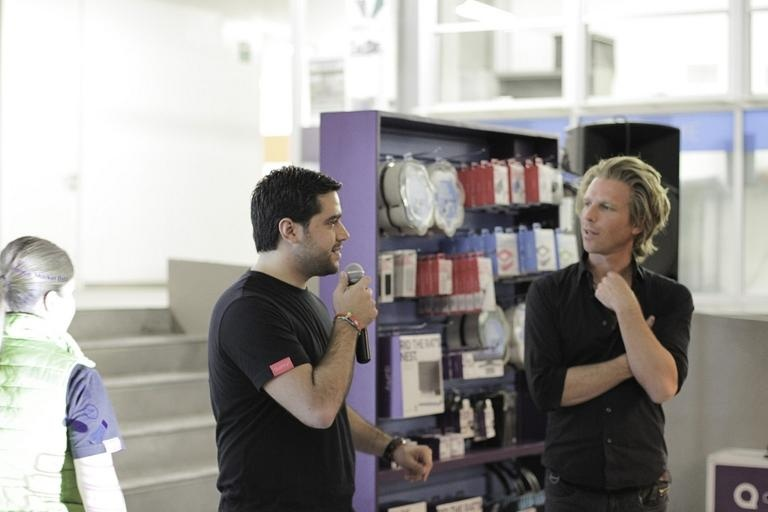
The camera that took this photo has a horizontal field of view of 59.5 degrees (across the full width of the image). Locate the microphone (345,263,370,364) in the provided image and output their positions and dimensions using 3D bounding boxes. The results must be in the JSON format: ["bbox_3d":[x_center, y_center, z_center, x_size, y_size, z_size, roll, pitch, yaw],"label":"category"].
[{"bbox_3d":[-0.104,0.267,2.986,0.124,0.421,0.120,-3,13,-8],"label":"microphone"}]

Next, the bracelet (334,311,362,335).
[{"bbox_3d":[-0.143,0.290,2.819,0.034,0.094,0.086,-40,6,-9],"label":"bracelet"}]
